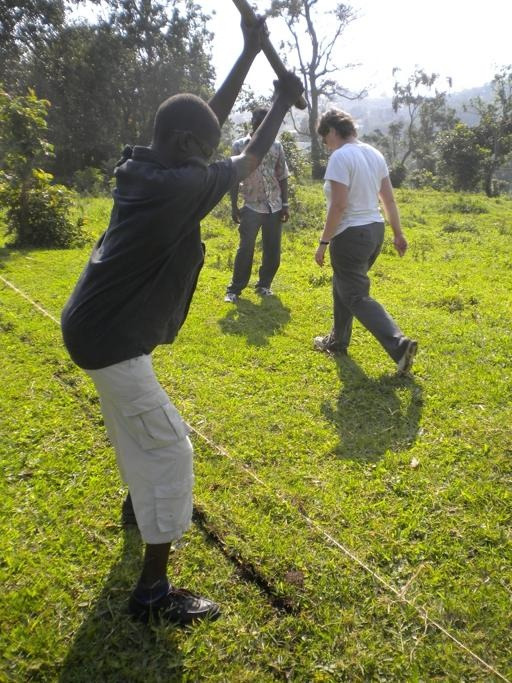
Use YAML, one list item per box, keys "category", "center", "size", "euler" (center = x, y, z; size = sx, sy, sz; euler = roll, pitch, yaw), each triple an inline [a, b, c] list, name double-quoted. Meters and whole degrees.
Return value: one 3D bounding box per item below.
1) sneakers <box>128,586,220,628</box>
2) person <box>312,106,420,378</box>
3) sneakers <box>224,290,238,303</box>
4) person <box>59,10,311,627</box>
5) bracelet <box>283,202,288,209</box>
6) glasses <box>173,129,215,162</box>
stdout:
- category: "sneakers"
  center: [-0.326, 1.053, 2.352]
  size: [0.388, 0.155, 0.145]
  euler: [0, 15, -8]
- category: "person"
  center: [0.817, -0.758, 4.370]
  size: [0.896, 1.897, 1.020]
  euler: [7, 14, -1]
- category: "sneakers"
  center: [-0.261, -0.465, 5.976]
  size: [0.103, 0.065, 0.147]
  euler: [7, 43, 15]
- category: "person"
  center: [-0.384, 0.076, 2.251]
  size: [0.711, 2.033, 0.488]
  euler: [7, 13, -1]
- category: "bracelet"
  center: [0.320, -1.474, 6.121]
  size: [0.015, 0.057, 0.057]
  euler: [-5, 0, 38]
- category: "glasses"
  center: [-0.224, -0.704, 2.084]
  size: [0.095, 0.059, 0.123]
  euler: [-16, 52, -28]
